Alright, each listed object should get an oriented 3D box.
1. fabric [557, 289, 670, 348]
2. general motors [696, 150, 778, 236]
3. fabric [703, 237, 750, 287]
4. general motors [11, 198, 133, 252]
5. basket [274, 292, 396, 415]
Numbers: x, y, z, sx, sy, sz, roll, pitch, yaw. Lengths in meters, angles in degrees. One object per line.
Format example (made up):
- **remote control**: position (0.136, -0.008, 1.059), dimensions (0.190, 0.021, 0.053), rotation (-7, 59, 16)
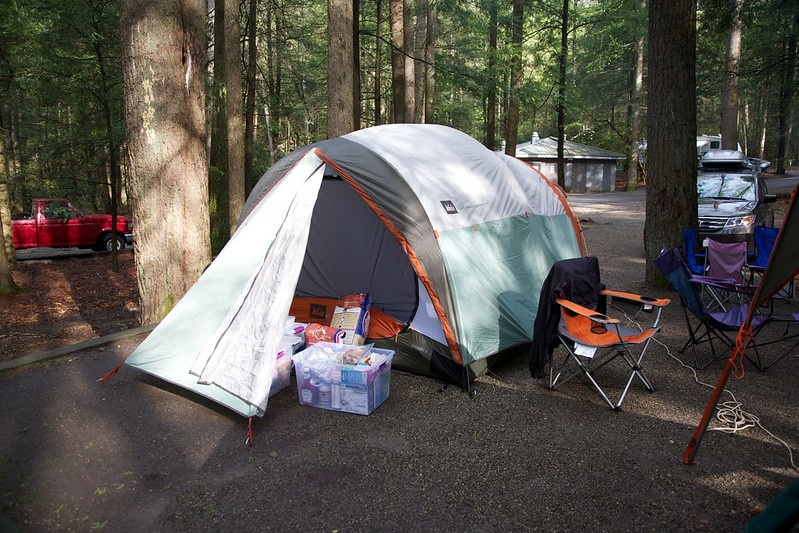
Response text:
- **fabric**: position (2.869, 0.727, 8.254), dimensions (1.308, 0.525, 1.300), rotation (-9, 12, -27)
- **general motors**: position (7.447, -1.653, 13.523), dimensions (1.632, 1.590, 3.055), rotation (3, 9, 35)
- **fabric**: position (5.683, -0.053, 10.528), dimensions (0.931, 1.095, 0.115), rotation (1, 2, 41)
- **general motors**: position (-9.764, -1.125, 17.630), dimensions (2.450, 1.750, 0.482), rotation (-9, 16, -24)
- **basket**: position (-0.868, 1.279, 8.500), dimensions (1.579, 1.072, 1.009), rotation (4, 11, 27)
